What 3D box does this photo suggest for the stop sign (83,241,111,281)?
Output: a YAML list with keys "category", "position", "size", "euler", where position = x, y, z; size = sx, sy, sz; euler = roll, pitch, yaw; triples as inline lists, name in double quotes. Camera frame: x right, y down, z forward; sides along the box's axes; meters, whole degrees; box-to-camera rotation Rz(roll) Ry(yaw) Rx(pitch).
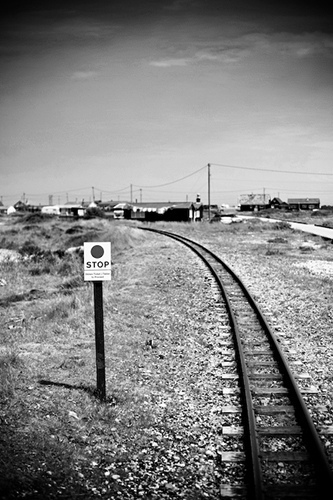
- category: "stop sign"
  position: [-0.886, 0.131, 5.987]
  size: [0.352, 0.609, 0.044]
  euler: [-2, 34, -10]
